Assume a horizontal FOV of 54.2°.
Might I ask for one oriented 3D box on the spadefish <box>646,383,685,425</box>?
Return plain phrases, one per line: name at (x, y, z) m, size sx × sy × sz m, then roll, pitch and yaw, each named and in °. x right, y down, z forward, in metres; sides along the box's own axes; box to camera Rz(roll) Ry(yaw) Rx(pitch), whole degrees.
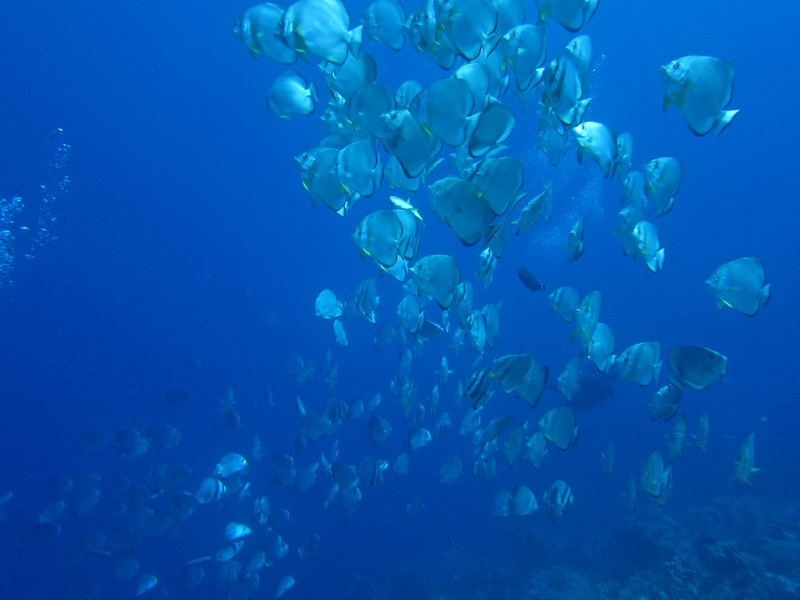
spadefish at (8.088, 3.073, 23.724) m, size 0.260 × 1.163 × 0.899 m, roll 6°, pitch 39°, yaw -35°
